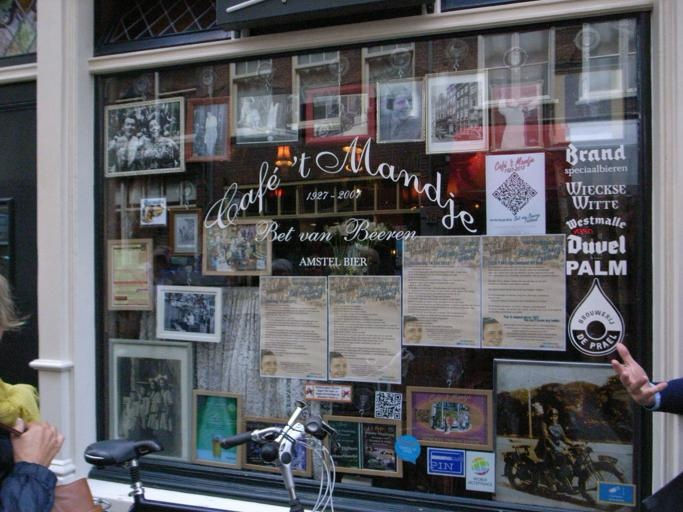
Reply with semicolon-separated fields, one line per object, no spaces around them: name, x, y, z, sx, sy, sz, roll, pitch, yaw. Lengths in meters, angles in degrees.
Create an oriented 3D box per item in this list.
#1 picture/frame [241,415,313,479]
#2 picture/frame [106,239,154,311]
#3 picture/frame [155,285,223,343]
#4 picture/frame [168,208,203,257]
picture/frame;-0.486;1.509;6.481;0.667;0.572;0.046;0;-1;20
picture/frame;-1.864;0.181;7.383;0.543;0.868;0.065;2;3;3
picture/frame;-1.303;0.507;7.232;0.448;0.388;0.046;2;-4;12
picture/frame;-1.353;-0.207;7.267;0.378;0.541;0.055;0;-2;11
